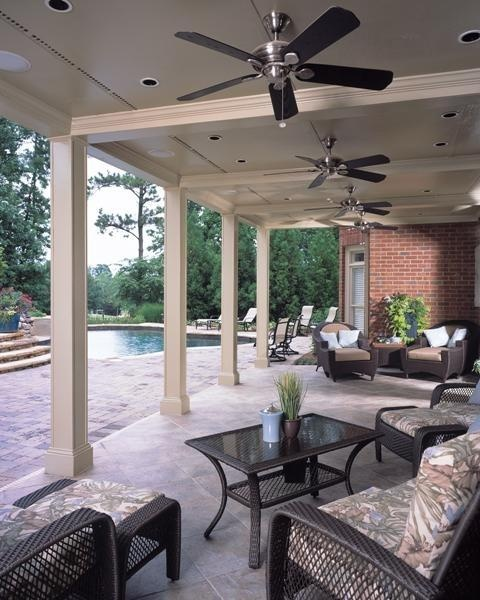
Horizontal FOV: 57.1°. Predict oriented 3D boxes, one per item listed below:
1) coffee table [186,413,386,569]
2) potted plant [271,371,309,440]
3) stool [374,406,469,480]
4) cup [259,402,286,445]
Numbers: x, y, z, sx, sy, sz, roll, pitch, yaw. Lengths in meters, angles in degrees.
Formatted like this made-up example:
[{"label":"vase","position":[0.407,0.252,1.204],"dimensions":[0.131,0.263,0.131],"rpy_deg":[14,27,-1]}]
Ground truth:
[{"label":"coffee table","position":[0.184,0.818,2.717],"dimensions":[1.209,0.594,0.714],"rpy_deg":[-3,5,-38]},{"label":"potted plant","position":[0.292,0.624,2.814],"dimensions":[0.256,0.453,0.237],"rpy_deg":[8,2,34]},{"label":"stool","position":[1.404,0.852,3.169],"dimensions":[0.721,0.538,0.601],"rpy_deg":[1,0,-22]},{"label":"cup","position":[0.197,0.761,2.727],"dimensions":[0.159,0.186,0.152],"rpy_deg":[-1,-9,0]}]
